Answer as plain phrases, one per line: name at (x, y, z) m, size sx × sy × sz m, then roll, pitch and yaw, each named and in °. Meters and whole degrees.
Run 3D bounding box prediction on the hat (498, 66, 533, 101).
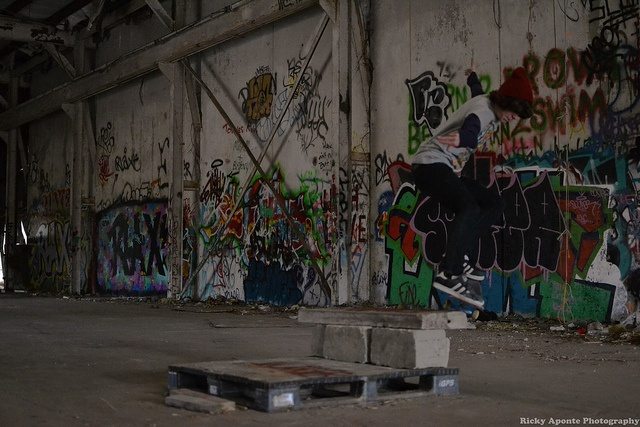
hat at (2.493, -1.669, 9.198) m, size 0.386 × 0.354 × 0.355 m, roll -15°, pitch -45°, yaw -21°
